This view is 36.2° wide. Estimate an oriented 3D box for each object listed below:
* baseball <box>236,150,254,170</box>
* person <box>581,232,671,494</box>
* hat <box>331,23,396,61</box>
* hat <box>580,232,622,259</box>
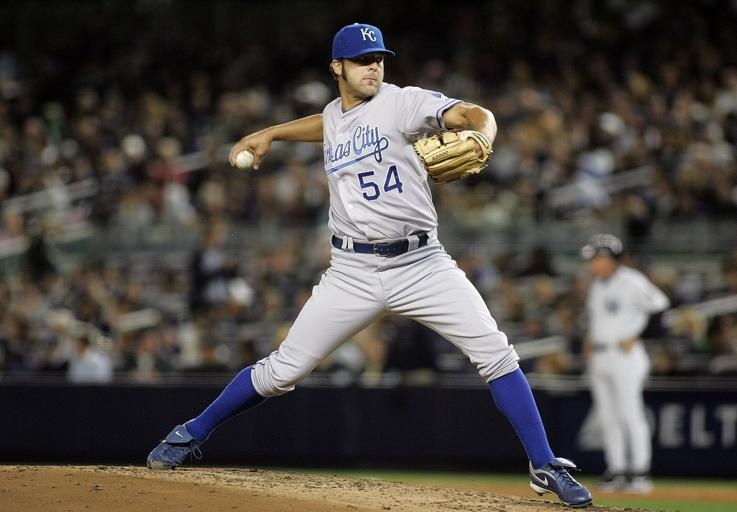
[{"bbox_3d":[-1.027,-0.795,9.476,0.151,0.150,0.118,-3,-18,11],"label":"baseball"},{"bbox_3d":[2.560,1.087,11.261,0.402,2.466,0.767,-4,-2,-39],"label":"person"},{"bbox_3d":[-0.070,-1.717,9.092,0.430,0.312,0.535,-5,7,-28],"label":"hat"},{"bbox_3d":[2.338,-0.094,11.379,0.360,0.186,0.218,4,12,7],"label":"hat"}]
